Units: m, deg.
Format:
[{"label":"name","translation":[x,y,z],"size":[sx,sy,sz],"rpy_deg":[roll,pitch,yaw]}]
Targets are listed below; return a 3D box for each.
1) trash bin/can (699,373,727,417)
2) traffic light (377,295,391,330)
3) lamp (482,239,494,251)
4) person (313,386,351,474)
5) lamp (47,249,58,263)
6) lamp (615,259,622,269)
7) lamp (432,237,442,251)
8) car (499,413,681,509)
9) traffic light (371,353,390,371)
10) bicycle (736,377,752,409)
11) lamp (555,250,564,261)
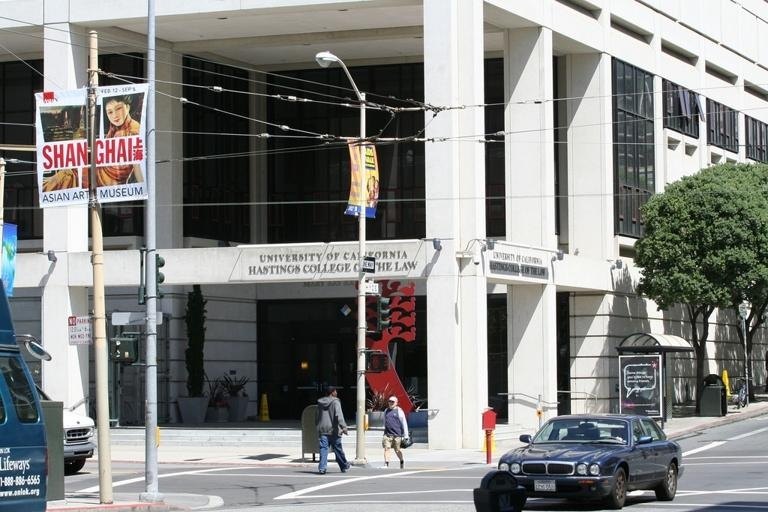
[{"label":"trash bin/can","translation":[15.410,6.544,67.247],"size":[1.034,1.887,1.128],"rpy_deg":[-1,-1,32]},{"label":"traffic light","translation":[0.008,2.194,55.484],"size":[0.441,1.280,1.093],"rpy_deg":[-1,-6,-1]},{"label":"lamp","translation":[4.383,-0.399,60.474],"size":[0.442,0.664,0.446],"rpy_deg":[1,3,-7]},{"label":"person","translation":[-1.803,6.435,52.683],"size":[1.137,2.848,1.386],"rpy_deg":[-2,-3,27]},{"label":"lamp","translation":[-14.439,0.063,62.904],"size":[0.452,0.833,0.522],"rpy_deg":[-3,2,-16]},{"label":"lamp","translation":[11.366,0.419,69.586],"size":[0.270,0.477,0.797],"rpy_deg":[-3,-6,18]},{"label":"lamp","translation":[2.203,-0.421,59.542],"size":[0.255,0.480,0.351],"rpy_deg":[-6,-8,41]},{"label":"car","translation":[6.630,6.453,45.117],"size":[5.620,2.835,2.100],"rpy_deg":[2,-6,-26]},{"label":"traffic light","translation":[-0.184,4.037,54.503],"size":[0.667,0.641,0.457],"rpy_deg":[1,-2,0]},{"label":"bicycle","translation":[17.500,6.716,70.362],"size":[0.593,1.469,2.146],"rpy_deg":[-2,-6,12]},{"label":"lamp","translation":[7.924,0.035,64.719],"size":[0.300,0.412,0.790],"rpy_deg":[-2,-6,12]}]
